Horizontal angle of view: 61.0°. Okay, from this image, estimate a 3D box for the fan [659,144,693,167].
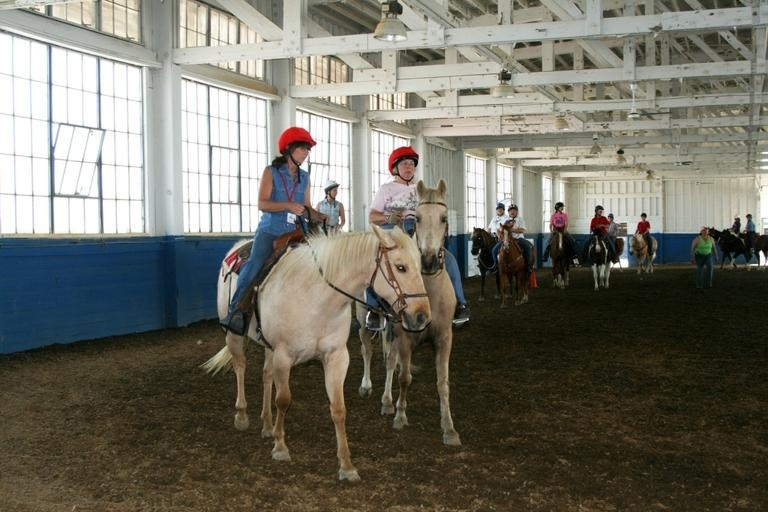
[{"bbox_3d":[11.899,-4.078,26.491,0.959,1.116,1.024,-2,6,10],"label":"fan"}]

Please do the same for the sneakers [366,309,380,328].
[{"bbox_3d":[-0.128,0.738,7.336,0.121,0.221,0.215,1,-11,7],"label":"sneakers"}]

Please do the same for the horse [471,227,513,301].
[{"bbox_3d":[3.213,0.187,18.822,0.610,1.995,2.671,-2,-2,35],"label":"horse"}]

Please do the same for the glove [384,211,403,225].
[{"bbox_3d":[0.114,-0.437,7.565,0.154,0.087,0.224,0,-6,-1],"label":"glove"}]

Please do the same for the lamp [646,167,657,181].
[{"bbox_3d":[13.474,-4.093,32.979,0.669,0.776,0.708,0,-2,26],"label":"lamp"}]

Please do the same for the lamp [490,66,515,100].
[{"bbox_3d":[2.491,-3.631,13.687,0.485,0.577,0.512,-2,6,-15],"label":"lamp"}]

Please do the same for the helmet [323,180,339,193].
[{"bbox_3d":[-1.118,-1.445,13.290,0.304,0.188,0.228,-24,-3,19],"label":"helmet"}]

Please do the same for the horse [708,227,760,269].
[{"bbox_3d":[16.457,-0.304,30.869,0.601,1.898,2.613,-6,3,-14],"label":"horse"}]

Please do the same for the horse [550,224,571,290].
[{"bbox_3d":[5.607,-0.013,20.903,0.579,1.972,2.691,0,2,14],"label":"horse"}]

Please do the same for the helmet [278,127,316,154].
[{"bbox_3d":[-0.985,-1.294,7.268,0.382,0.232,0.294,-9,5,8],"label":"helmet"}]

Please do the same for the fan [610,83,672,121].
[{"bbox_3d":[7.265,-4.359,18.348,1.425,0.369,1.467,0,38,12],"label":"fan"}]

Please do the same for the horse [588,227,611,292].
[{"bbox_3d":[7.233,-0.027,21.950,0.667,2.119,2.955,-3,15,19],"label":"horse"}]

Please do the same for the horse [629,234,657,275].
[{"bbox_3d":[12.216,-0.054,30.833,0.869,2.187,3.435,-4,-16,29],"label":"horse"}]

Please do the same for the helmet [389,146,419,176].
[{"bbox_3d":[0.226,-1.158,7.935,0.315,0.342,0.552,0,8,-2],"label":"helmet"}]

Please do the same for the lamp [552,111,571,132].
[{"bbox_3d":[5.001,-3.781,18.334,0.348,0.518,1.729,2,8,17],"label":"lamp"}]
